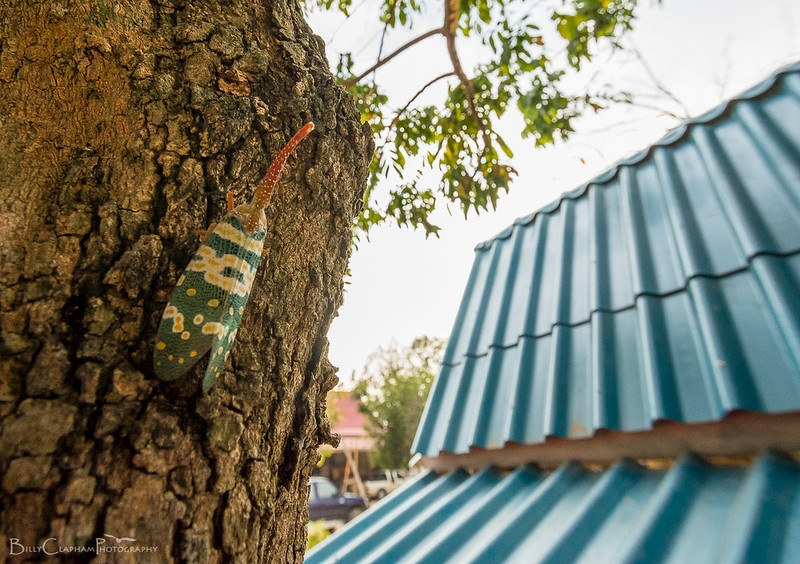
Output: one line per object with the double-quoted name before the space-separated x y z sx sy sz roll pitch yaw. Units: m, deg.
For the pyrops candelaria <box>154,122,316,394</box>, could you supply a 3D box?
"pyrops candelaria" -0.533 -0.008 2.713 0.330 1.116 0.492 35 -24 -34
